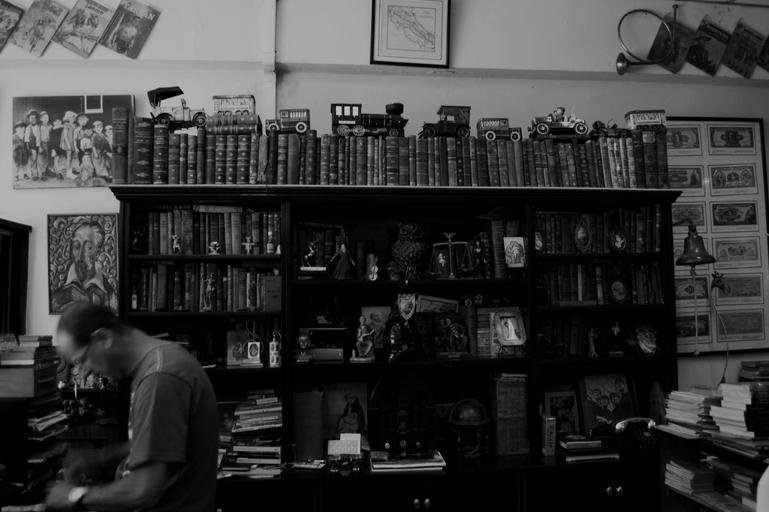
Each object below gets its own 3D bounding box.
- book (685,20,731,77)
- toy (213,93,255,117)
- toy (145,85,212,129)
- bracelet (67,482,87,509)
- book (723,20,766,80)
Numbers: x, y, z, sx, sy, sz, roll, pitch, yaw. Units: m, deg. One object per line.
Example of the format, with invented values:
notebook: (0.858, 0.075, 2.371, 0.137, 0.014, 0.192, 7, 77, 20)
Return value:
book: (2.833, -1.847, 7.889, 0.420, 0.453, 0.109, 29, 3, -2)
toy: (-1.215, -1.228, 7.152, 0.317, 0.190, 0.244, 0, 0, -8)
toy: (-1.682, -1.208, 7.239, 0.458, 0.372, 0.536, 0, 0, -12)
bracelet: (-1.931, 1.501, 5.566, 0.108, 0.037, 0.110, -1, 39, 23)
book: (3.163, -1.833, 7.895, 0.422, 0.464, 0.112, 24, 0, -7)
